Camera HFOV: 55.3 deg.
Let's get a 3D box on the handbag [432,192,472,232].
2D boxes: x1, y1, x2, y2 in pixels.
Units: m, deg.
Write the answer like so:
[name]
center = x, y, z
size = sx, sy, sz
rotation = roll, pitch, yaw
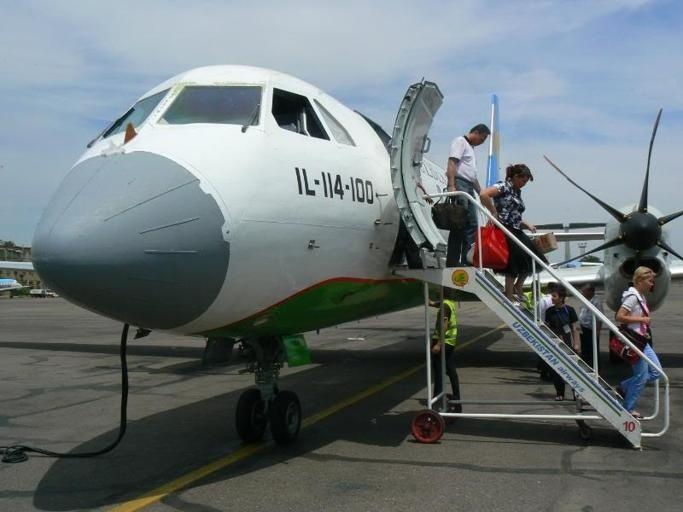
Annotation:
[handbag]
center = 1.650, -0.635, 9.939
size = 0.759, 0.655, 0.444
rotation = -2, 9, 8
